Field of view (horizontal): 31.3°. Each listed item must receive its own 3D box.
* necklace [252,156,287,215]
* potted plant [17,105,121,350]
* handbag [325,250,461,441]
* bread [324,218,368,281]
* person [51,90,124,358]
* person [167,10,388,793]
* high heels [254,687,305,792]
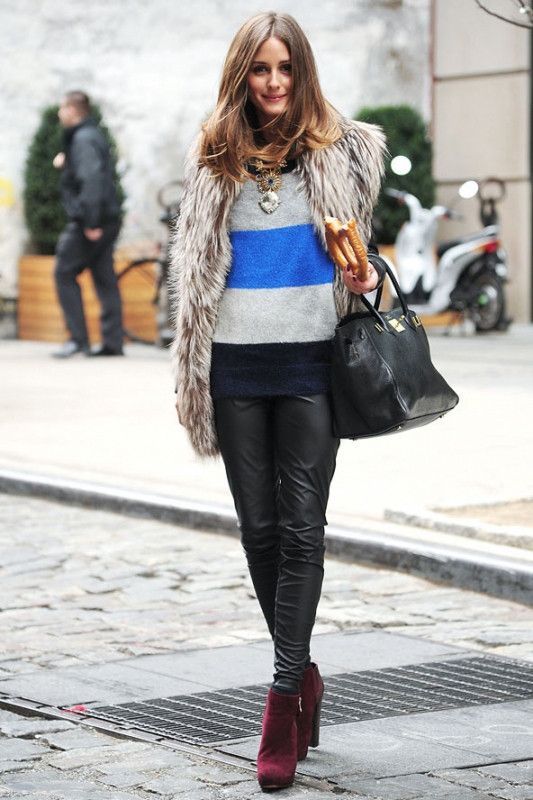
[{"bbox_3d":[0.000,-0.446,2.008,0.073,0.121,0.060,2,2,0],"label":"necklace"},{"bbox_3d":[-1.645,-1.514,8.176,0.972,2.166,0.765,1,6,13],"label":"potted plant"},{"bbox_3d":[0.255,-0.116,2.057,0.193,0.361,0.310,-6,6,37],"label":"handbag"},{"bbox_3d":[0.169,-0.296,1.919,0.071,0.125,0.038,7,47,50],"label":"bread"},{"bbox_3d":[-1.678,-1.541,8.546,0.828,2.295,0.948,3,8,11],"label":"person"},{"bbox_3d":[-0.008,-0.049,1.982,0.464,1.525,0.494,2,2,5],"label":"person"},{"bbox_3d":[0.025,0.657,1.834,0.139,0.118,0.194,0,6,6],"label":"high heels"}]
